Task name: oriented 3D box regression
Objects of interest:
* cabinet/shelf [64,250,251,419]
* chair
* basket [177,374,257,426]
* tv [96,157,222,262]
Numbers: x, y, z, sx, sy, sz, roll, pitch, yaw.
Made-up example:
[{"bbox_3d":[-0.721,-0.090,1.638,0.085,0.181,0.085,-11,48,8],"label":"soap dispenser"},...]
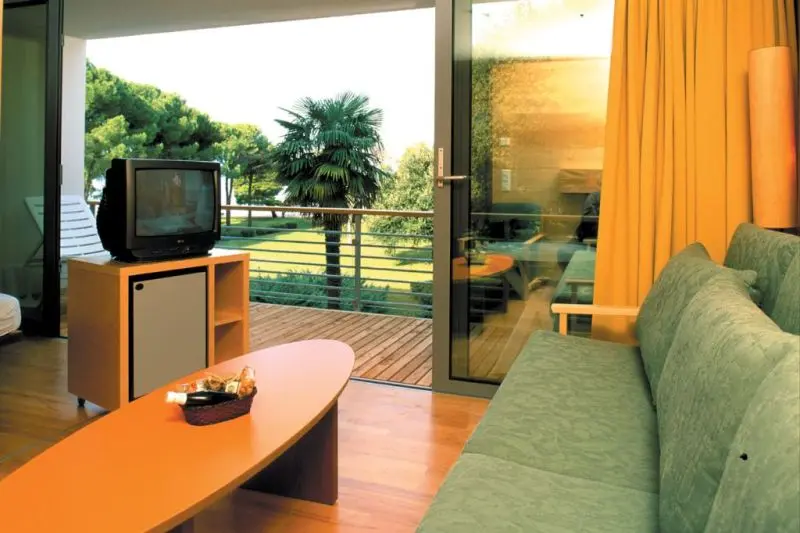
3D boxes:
[{"bbox_3d":[-1.462,0.343,3.582,0.545,0.764,0.963,4,6,27],"label":"cabinet/shelf"},{"bbox_3d":[0.684,-0.117,3.561,0.556,0.696,0.539,2,7,18],"label":"chair"},{"bbox_3d":[-0.691,0.475,2.150,0.223,0.074,0.163,-8,12,-43],"label":"basket"},{"bbox_3d":[-1.353,-0.327,3.526,0.640,0.705,0.827,4,5,36],"label":"tv"}]
